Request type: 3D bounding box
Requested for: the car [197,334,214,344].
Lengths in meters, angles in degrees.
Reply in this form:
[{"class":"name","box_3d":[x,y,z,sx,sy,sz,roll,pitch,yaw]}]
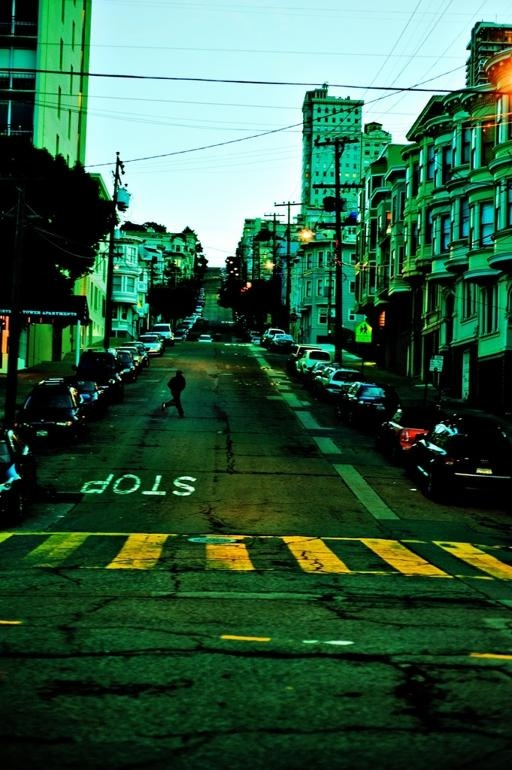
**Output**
[{"class":"car","box_3d":[-5.719,-5.191,95.160,1.391,0.944,1.975,0,-3,-4]}]
